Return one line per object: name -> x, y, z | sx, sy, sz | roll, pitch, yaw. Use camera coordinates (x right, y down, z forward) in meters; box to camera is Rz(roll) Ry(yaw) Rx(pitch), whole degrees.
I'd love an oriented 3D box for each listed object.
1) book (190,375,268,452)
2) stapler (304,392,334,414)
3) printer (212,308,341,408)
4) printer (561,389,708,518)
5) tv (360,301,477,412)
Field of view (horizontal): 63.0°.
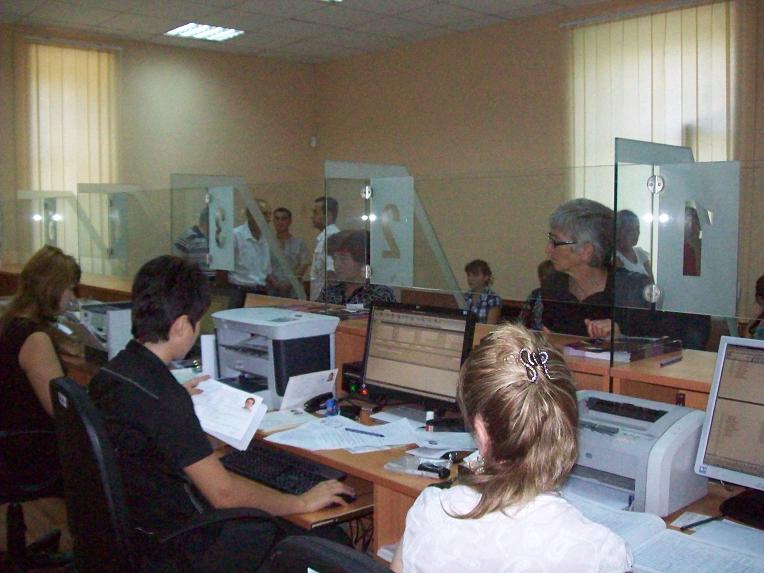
book -> -0.476, 0.450, 2.174 | 0.318, 0.089, 0.228 | 12, 62, 36
stapler -> -0.258, 0.484, 2.604 | 0.057, 0.039, 0.107 | -11, 7, 43
printer -> -0.507, 0.307, 2.801 | 0.531, 0.367, 0.300 | 7, 8, 42
printer -> 0.799, 0.506, 2.047 | 0.524, 0.292, 0.488 | 7, 7, 36
tv -> 0.137, 0.275, 2.377 | 0.423, 0.317, 0.105 | 3, 1, 41
